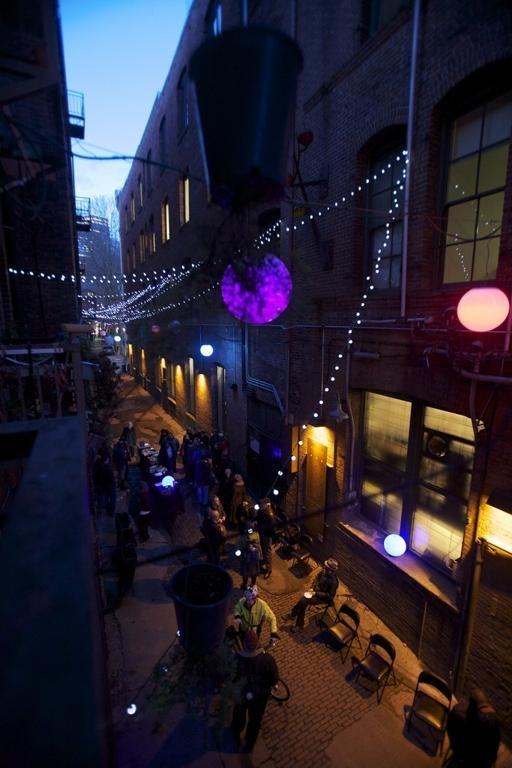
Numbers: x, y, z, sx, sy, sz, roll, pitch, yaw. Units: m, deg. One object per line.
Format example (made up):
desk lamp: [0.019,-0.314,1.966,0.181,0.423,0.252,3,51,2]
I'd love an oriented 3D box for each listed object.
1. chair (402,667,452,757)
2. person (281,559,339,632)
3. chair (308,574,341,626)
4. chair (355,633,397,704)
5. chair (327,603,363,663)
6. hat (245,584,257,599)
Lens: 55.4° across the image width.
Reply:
chair: [1.631,3.071,4.572,0.318,0.604,0.424,34,63,19]
person: [0.697,2.587,6.077,0.555,0.842,0.439,-3,10,-21]
chair: [0.882,2.642,6.118,0.380,0.822,0.323,-2,20,-15]
chair: [1.250,2.924,5.038,0.359,0.519,0.355,-5,18,-15]
chair: [1.087,2.848,5.543,0.298,0.544,0.365,29,-19,-15]
hat: [-0.038,2.141,5.023,0.081,0.122,0.108,-2,-29,12]
